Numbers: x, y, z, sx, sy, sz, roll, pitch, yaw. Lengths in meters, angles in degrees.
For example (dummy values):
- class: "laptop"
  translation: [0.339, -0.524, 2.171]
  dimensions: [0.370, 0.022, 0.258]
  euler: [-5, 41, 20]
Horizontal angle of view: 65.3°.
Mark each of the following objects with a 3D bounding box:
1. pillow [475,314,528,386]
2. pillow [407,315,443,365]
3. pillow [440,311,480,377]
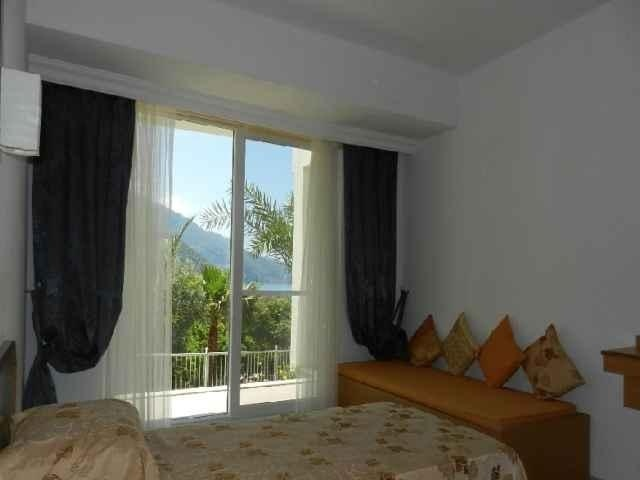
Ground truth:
- class: "pillow"
  translation: [1.521, 0.818, 4.208]
  dimensions: [0.592, 0.639, 0.152]
  euler: [16, -27, -22]
- class: "pillow"
  translation: [0.968, 1.018, 4.926]
  dimensions: [0.454, 0.414, 0.106]
  euler: [-26, 21, -38]
- class: "pillow"
  translation: [1.282, 0.954, 4.529]
  dimensions: [0.125, 0.743, 0.468]
  euler: [9, -10, -28]
